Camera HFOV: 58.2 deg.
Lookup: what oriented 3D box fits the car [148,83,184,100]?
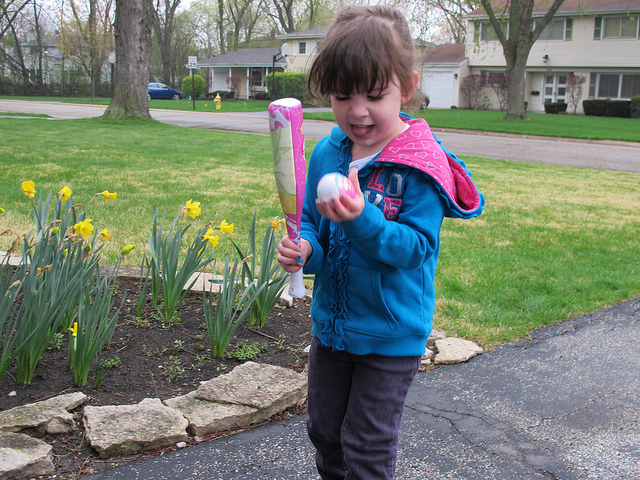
[{"bbox_3d":[-10.002,-9.510,36.822,1.020,0.994,2.923,5,14,24],"label":"car"}]

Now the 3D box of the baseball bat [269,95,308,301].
[{"bbox_3d":[-0.095,-0.235,2.032,0.104,0.516,0.153,8,15,36],"label":"baseball bat"}]
